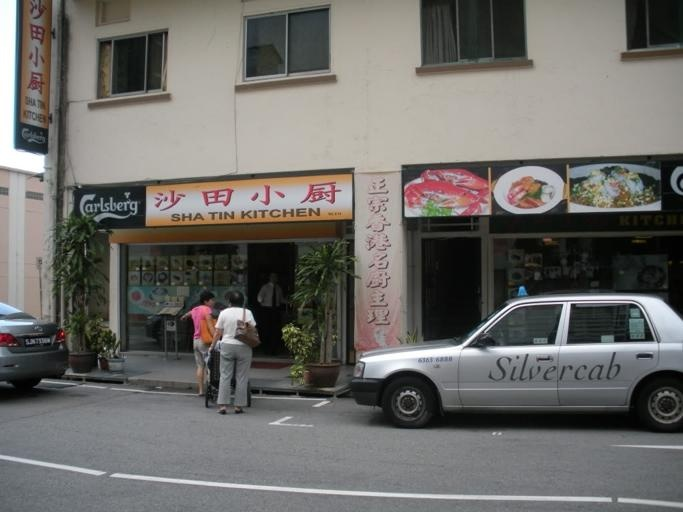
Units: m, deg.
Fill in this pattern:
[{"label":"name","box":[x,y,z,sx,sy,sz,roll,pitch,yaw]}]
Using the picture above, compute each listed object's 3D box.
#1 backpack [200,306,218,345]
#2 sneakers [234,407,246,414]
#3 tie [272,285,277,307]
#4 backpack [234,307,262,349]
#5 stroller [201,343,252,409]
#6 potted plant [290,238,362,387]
[{"label":"backpack","box":[-2.760,1.466,15.873,0.170,0.778,0.690,-3,-6,9]},{"label":"sneakers","box":[-1.943,2.937,14.605,0.080,0.104,0.250,0,-1,9]},{"label":"tie","box":[-1.740,1.044,20.267,0.112,0.566,0.049,0,4,1]},{"label":"backpack","box":[-1.788,1.330,14.684,0.206,0.720,0.490,-18,-34,41]},{"label":"stroller","box":[-2.521,2.440,15.458,0.943,1.142,1.490,2,-8,-6]},{"label":"potted plant","box":[-0.569,1.239,16.739,1.377,3.121,1.104,-1,4,-9]}]
